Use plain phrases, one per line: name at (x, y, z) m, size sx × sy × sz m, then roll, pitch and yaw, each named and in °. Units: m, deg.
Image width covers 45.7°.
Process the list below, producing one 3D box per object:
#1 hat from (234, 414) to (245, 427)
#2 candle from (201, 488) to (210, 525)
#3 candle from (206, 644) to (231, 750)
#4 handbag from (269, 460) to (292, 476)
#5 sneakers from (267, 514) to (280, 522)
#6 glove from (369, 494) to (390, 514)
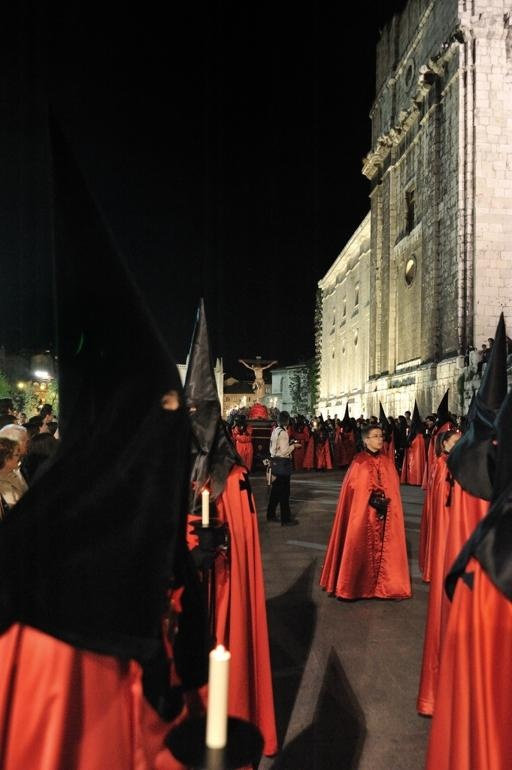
hat at (-0.391, 0.864, 15.979) m, size 0.181 × 0.398 × 0.286 m, roll -1°, pitch -9°, yaw -11°
candle at (-0.249, 0.587, 2.929) m, size 0.034 × 0.167 × 0.153 m, roll 0°, pitch -3°, yaw -9°
candle at (-0.085, 0.703, 1.344) m, size 0.044 × 0.257 × 0.194 m, roll 0°, pitch -3°, yaw -4°
handbag at (0.415, 1.337, 9.981) m, size 0.219 × 0.265 × 0.259 m, roll 0°, pitch 0°, yaw -21°
sneakers at (0.304, 2.327, 10.640) m, size 0.223 × 0.153 × 0.086 m, roll -3°, pitch 2°, yaw -8°
glove at (1.249, 1.195, 6.169) m, size 0.153 × 0.267 × 0.124 m, roll -38°, pitch 18°, yaw -34°
